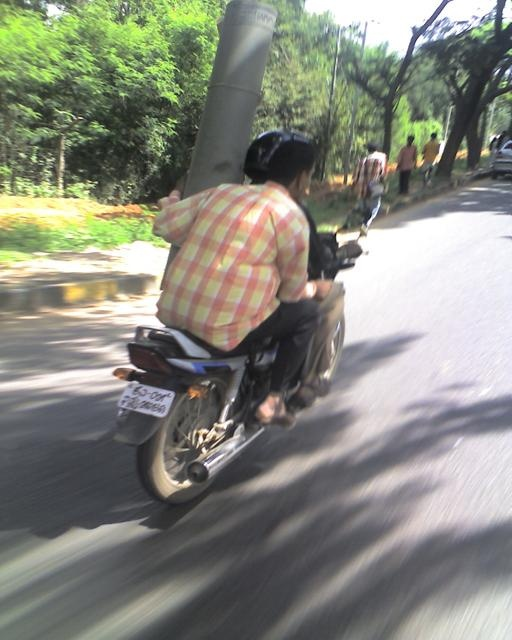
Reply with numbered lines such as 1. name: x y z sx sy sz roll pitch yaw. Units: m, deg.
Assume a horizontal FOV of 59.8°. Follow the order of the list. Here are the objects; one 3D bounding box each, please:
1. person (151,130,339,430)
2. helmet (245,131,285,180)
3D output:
1. person: -0.062 -0.234 2.215 0.885 1.369 0.765 13 11 3
2. helmet: 0.022 -0.784 2.150 0.088 0.236 0.178 46 39 20
